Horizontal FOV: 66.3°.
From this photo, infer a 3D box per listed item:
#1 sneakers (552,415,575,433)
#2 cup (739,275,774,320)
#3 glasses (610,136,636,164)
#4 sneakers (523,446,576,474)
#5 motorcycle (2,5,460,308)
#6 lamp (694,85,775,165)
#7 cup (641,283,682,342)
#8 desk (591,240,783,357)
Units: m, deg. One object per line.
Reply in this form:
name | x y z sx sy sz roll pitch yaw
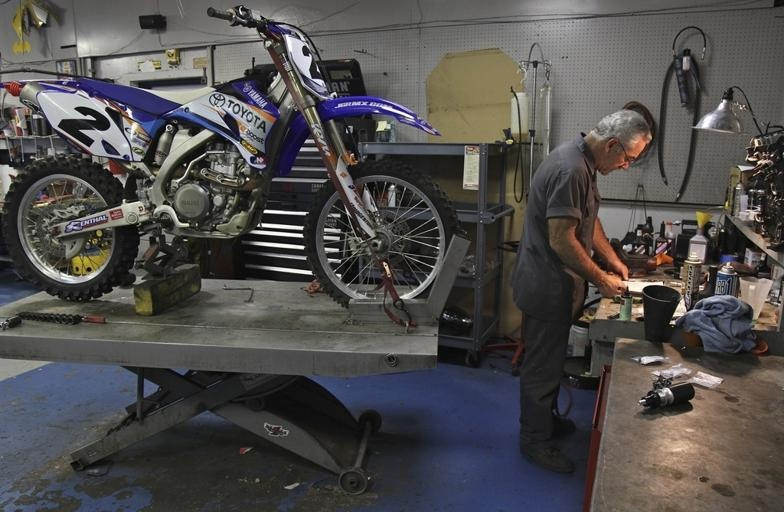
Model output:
sneakers | 1.173 1.165 4.130 0.232 0.099 0.101 -4 24 5
cup | 2.244 0.250 3.730 0.163 0.233 0.296 8 18 31
glasses | 1.413 -0.640 3.688 0.159 0.167 0.047 5 -13 -31
sneakers | 1.012 1.302 3.882 0.291 0.124 0.142 10 22 22
motorcycle | -1.142 -0.625 4.087 2.869 1.918 1.108 1 16 8
lamp | 2.551 -0.964 4.372 0.475 0.515 1.108 8 18 31
cup | 1.520 0.327 3.412 0.188 0.294 0.176 -2 15 0
desk | 1.652 0.410 3.721 1.062 0.522 0.711 1 16 9
